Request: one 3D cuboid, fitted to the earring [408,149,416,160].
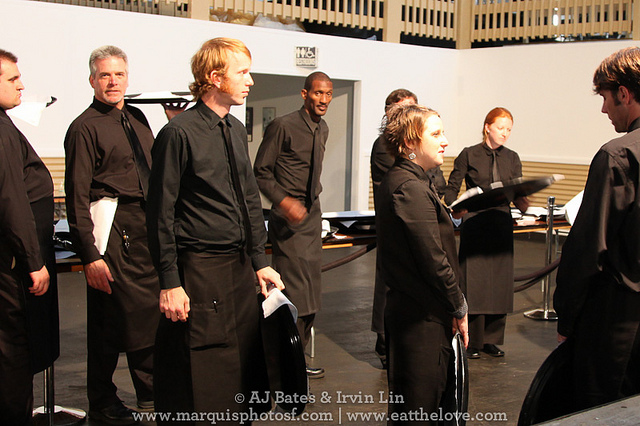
[{"bbox_3d":[0.564,-0.357,3.814,0.046,0.061,0.023,4,3,15],"label":"earring"}]

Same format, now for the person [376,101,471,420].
[{"bbox_3d":[0.625,0.303,3.776,0.528,1.872,0.677,-1,12,-6],"label":"person"}]

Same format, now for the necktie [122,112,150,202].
[{"bbox_3d":[-1.318,-0.366,4.423,0.034,0.655,0.183,-17,-6,28],"label":"necktie"}]

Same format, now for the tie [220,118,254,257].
[{"bbox_3d":[-0.481,-0.157,3.741,0.121,0.913,0.141,-9,1,42],"label":"tie"}]

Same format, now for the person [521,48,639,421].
[{"bbox_3d":[1.623,0.151,3.579,0.536,2.137,0.756,9,14,36],"label":"person"}]

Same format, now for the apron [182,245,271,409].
[{"bbox_3d":[-0.506,0.657,3.863,0.627,1.204,0.429,-12,32,-21],"label":"apron"}]

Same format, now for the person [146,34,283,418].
[{"bbox_3d":[-0.634,0.121,3.688,0.773,2.252,0.526,-3,12,-16],"label":"person"}]

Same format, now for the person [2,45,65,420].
[{"bbox_3d":[-1.915,0.348,4.045,0.322,1.910,0.541,-3,12,-16],"label":"person"}]

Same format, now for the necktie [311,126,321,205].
[{"bbox_3d":[-0.037,-0.398,5.128,0.078,0.564,0.024,1,-18,12],"label":"necktie"}]

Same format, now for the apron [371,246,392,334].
[{"bbox_3d":[0.487,0.702,5.368,0.155,0.617,0.121,-4,-23,6],"label":"apron"}]
